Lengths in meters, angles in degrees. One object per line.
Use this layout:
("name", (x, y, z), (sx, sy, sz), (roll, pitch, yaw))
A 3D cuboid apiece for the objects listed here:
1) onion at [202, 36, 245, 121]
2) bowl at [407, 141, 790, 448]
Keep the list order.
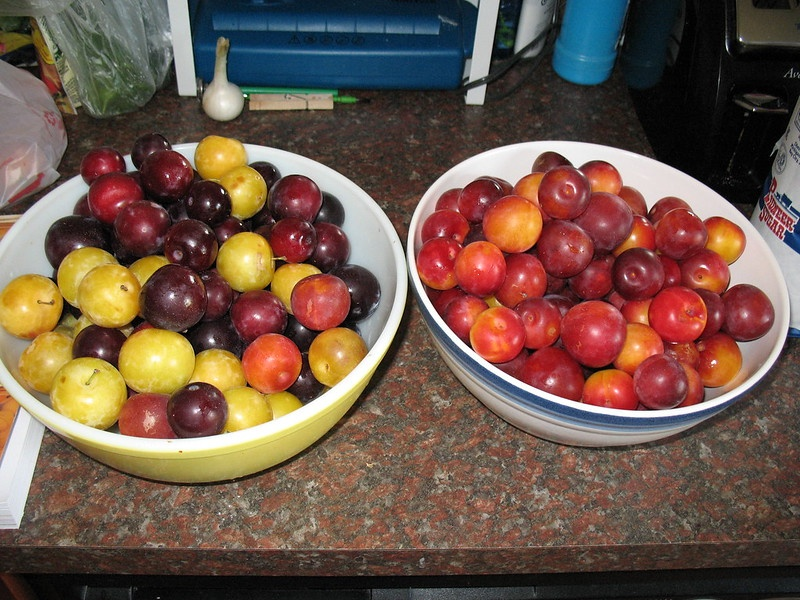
("onion", (-0.386, -0.470, 1.501), (0.091, 0.157, 0.083), (-12, 52, -11))
("bowl", (0.310, 0.009, 1.201), (0.475, 0.257, 0.541), (-3, 47, -6))
